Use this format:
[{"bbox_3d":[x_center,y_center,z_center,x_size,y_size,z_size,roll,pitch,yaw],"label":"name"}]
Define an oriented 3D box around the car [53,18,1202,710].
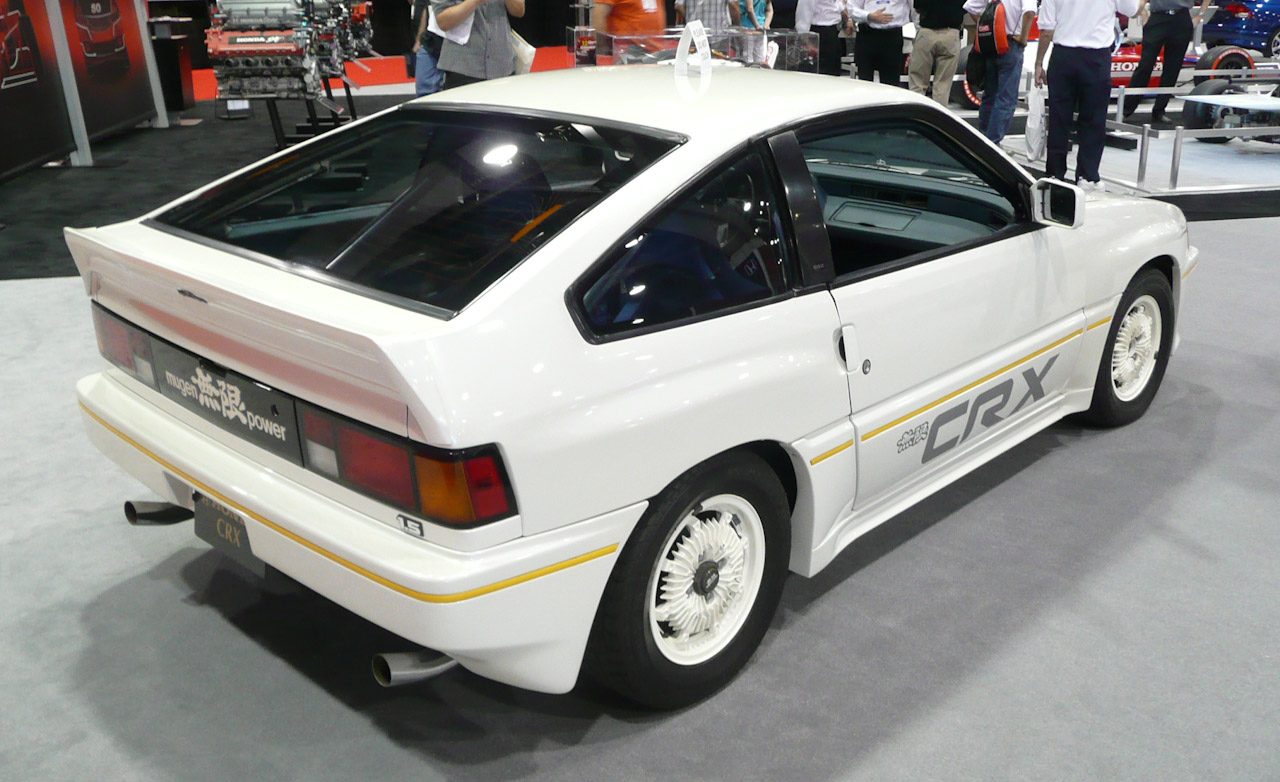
[{"bbox_3d":[0.027,-0.281,3.207,4.146,2.216,1.816,-16,29,-27],"label":"car"}]
